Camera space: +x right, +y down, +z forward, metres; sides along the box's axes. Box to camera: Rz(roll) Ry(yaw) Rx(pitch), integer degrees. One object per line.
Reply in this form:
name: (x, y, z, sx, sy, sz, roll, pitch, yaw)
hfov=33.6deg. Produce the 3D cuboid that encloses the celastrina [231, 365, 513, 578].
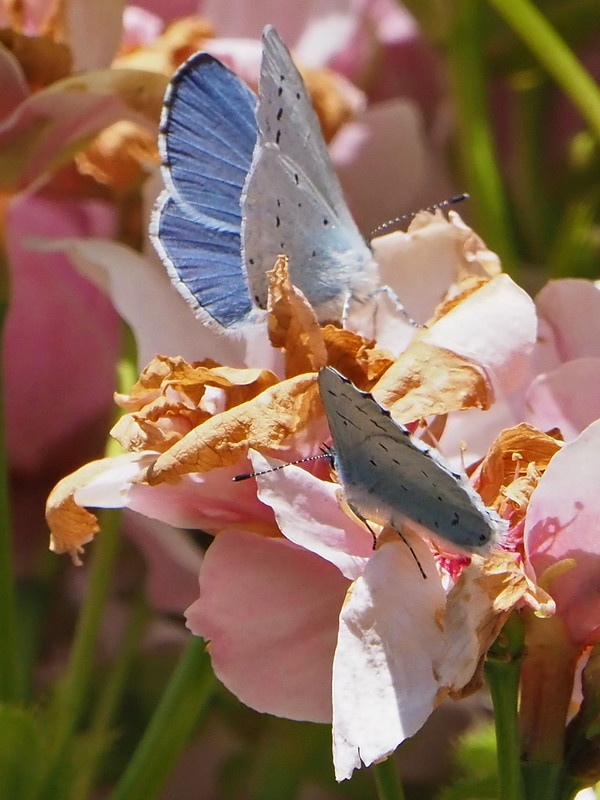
celastrina: (0.024, 0.022, 0.304, 0.081, 0.072, 0.042, 17, 83, 9)

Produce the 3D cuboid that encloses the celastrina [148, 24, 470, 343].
celastrina: (-0.019, -0.086, 0.366, 0.089, 0.061, 0.095, -36, 29, 1)
